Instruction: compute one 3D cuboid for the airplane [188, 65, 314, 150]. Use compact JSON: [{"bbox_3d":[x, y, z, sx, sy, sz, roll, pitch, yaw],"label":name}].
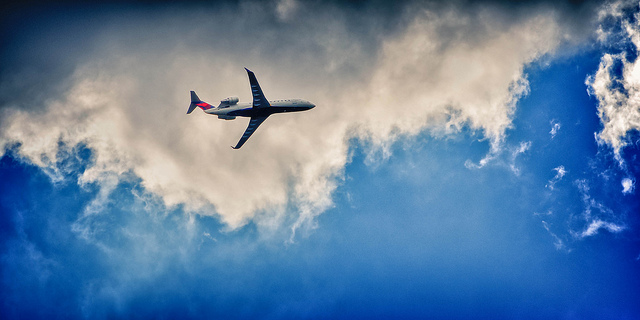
[{"bbox_3d":[-24.729,-15.513,375.830,43.004,34.852,10.659,-4,31,-8],"label":"airplane"}]
